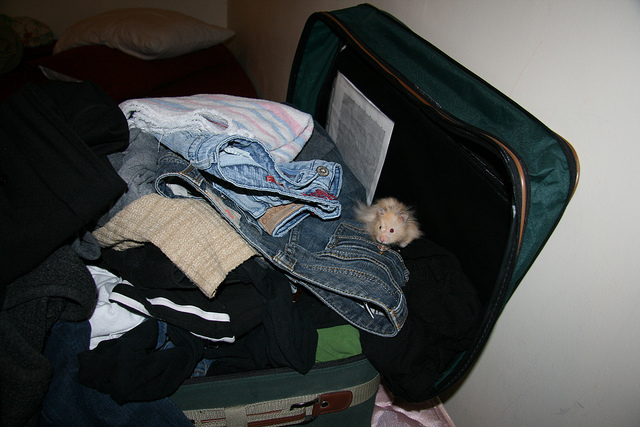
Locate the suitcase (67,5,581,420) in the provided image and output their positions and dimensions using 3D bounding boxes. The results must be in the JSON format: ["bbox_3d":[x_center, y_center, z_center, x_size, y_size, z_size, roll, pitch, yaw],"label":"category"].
[{"bbox_3d":[0.075,0.070,1.718,1.284,1.163,1.317,-15,56,-34],"label":"suitcase"}]

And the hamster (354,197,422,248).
[{"bbox_3d":[0.201,0.001,1.418,0.136,0.065,0.148,9,46,6],"label":"hamster"}]
